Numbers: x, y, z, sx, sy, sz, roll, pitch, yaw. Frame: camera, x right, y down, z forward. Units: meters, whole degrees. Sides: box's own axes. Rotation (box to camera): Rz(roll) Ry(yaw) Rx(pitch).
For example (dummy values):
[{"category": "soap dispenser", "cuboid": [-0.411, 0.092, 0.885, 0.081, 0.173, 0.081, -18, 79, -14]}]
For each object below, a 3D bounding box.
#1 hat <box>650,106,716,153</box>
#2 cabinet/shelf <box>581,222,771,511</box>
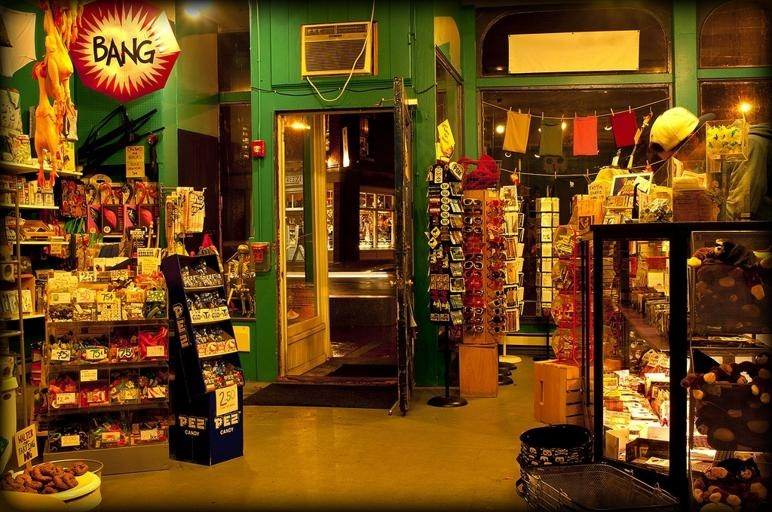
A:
[{"category": "hat", "cuboid": [2.413, -1.062, 5.544, 0.456, 0.227, 0.302, -40, 14, 9]}, {"category": "cabinet/shelf", "cuboid": [2.111, 0.824, 4.863, 0.806, 2.223, 1.886, 0, 3, -2]}]
